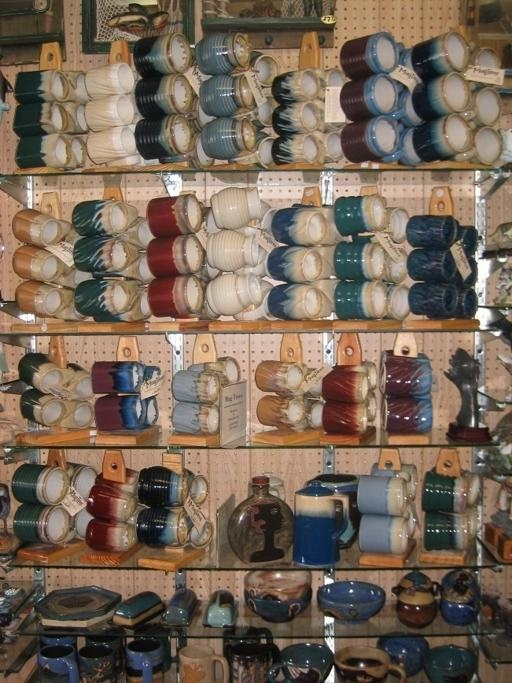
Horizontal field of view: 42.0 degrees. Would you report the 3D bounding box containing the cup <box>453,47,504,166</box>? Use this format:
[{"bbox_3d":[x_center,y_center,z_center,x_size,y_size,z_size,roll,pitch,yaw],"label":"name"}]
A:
[{"bbox_3d":[0.592,-0.597,1.733,0.167,0.284,0.087,-7,15,-37],"label":"cup"}]
